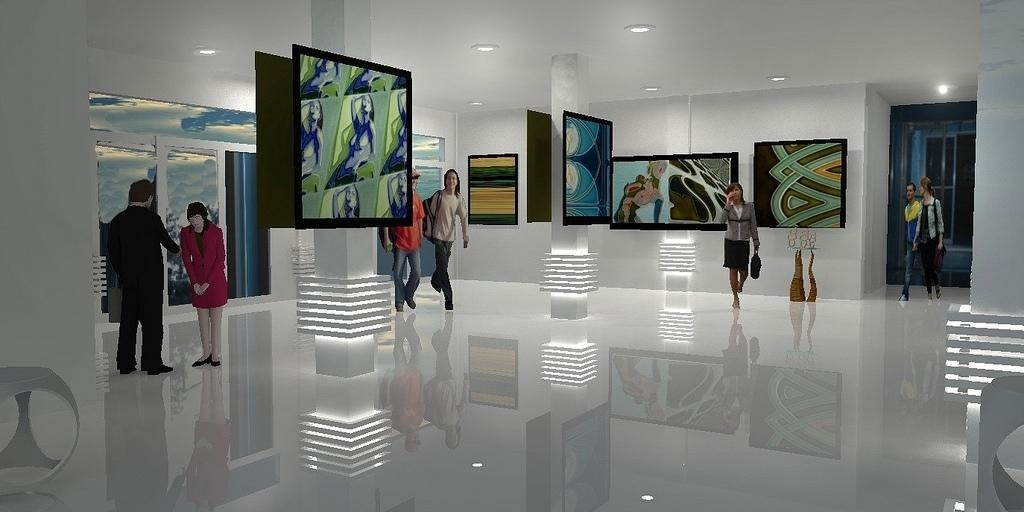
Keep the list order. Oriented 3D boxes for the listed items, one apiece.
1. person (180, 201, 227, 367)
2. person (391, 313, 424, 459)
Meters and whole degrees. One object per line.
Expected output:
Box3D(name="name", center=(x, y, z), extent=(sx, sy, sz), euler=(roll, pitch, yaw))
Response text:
Box3D(name="person", center=(-4.540, 0.429, 9.345), extent=(0.623, 2.382, 0.784), euler=(-8, 17, -24))
Box3D(name="person", center=(-1.444, 1.605, 8.611), extent=(0.453, 0.457, 1.815), euler=(4, 43, -9))
